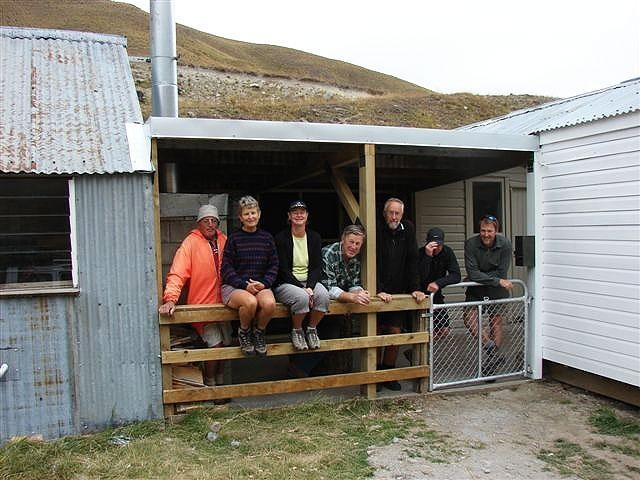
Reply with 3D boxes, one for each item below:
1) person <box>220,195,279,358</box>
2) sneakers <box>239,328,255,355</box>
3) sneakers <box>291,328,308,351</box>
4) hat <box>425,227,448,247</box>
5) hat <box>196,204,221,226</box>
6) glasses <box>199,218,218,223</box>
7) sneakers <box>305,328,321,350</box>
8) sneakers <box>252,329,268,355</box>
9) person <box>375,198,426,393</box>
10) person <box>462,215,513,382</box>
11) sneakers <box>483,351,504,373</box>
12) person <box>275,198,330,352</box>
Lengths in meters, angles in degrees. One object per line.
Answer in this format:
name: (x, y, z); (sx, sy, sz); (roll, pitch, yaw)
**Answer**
person: (-0.742, 0.527, 7.126); (0.612, 1.407, 0.372); (-1, 2, -5)
sneakers: (-0.751, 1.093, 7.149); (0.130, 0.178, 0.333); (-5, 18, -22)
sneakers: (-0.222, 1.085, 7.331); (0.178, 0.262, 0.127); (-1, 2, -18)
hat: (1.401, -0.046, 8.111); (0.186, 0.153, 0.270); (0, 4, 2)
hat: (-1.227, -0.279, 7.429); (0.189, 0.175, 0.234); (1, -25, -17)
glasses: (-1.216, -0.210, 7.353); (0.210, 0.071, 0.121); (-1, 2, -15)
sneakers: (-0.085, 1.086, 7.341); (0.110, 0.115, 0.297); (-5, 21, -15)
sneakers: (-0.628, 1.089, 7.251); (0.115, 0.293, 0.132); (-7, -14, -21)
person: (0.936, 0.651, 7.895); (0.539, 2.263, 0.725); (0, 2, 4)
person: (2.041, 0.676, 8.240); (0.575, 1.929, 0.545); (0, 2, 13)
sneakers: (2.078, 1.502, 8.178); (0.240, 0.284, 0.072); (-1, 2, -24)
person: (-0.188, 0.397, 7.364); (0.603, 1.627, 0.443); (-1, 2, -24)
